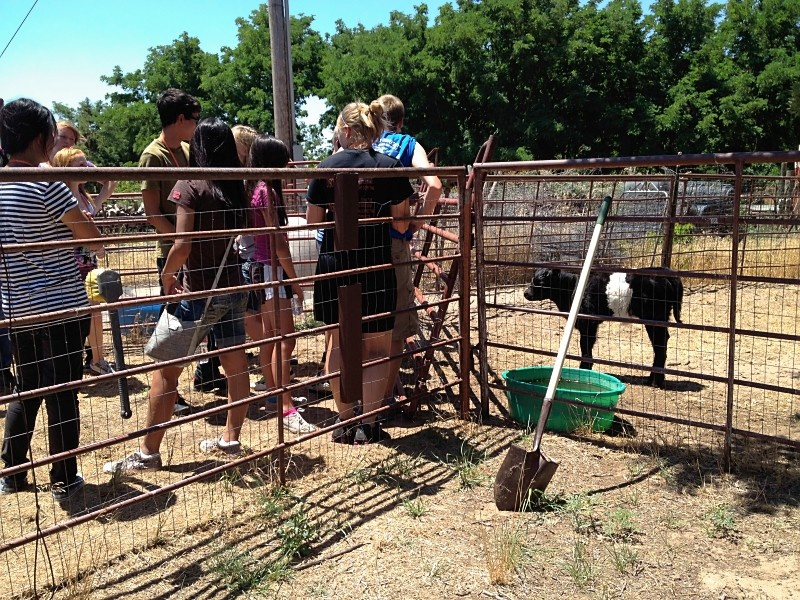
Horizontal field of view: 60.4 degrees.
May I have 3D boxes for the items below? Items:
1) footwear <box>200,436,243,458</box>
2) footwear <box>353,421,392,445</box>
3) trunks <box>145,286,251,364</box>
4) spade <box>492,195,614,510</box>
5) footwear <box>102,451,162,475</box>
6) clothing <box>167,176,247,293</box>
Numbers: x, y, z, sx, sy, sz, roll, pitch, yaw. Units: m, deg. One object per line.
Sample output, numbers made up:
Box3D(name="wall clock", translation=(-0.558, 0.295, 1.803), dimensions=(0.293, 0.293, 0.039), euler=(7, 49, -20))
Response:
Box3D(name="footwear", translation=(-1.363, 1.102, 5.212), dimensions=(0.297, 0.144, 0.136), euler=(7, 8, 18))
Box3D(name="footwear", translation=(-0.236, 1.073, 5.452), dimensions=(0.201, 0.113, 0.293), euler=(-1, -6, -5))
Box3D(name="trunks", translation=(-1.412, 0.198, 4.792), dimensions=(0.711, 0.450, 0.402), euler=(-6, 14, -23))
Box3D(name="spade", translation=(1.037, 0.377, 4.810), dimensions=(0.570, 1.856, 1.217), euler=(4, 13, 19))
Box3D(name="footwear", translation=(-1.877, 1.150, 4.916), dimensions=(0.437, 0.205, 0.168), euler=(2, -2, -13))
Box3D(name="clothing", translation=(-1.329, -0.449, 4.711), dimensions=(0.596, 0.825, 0.288), euler=(-9, 27, -29))
